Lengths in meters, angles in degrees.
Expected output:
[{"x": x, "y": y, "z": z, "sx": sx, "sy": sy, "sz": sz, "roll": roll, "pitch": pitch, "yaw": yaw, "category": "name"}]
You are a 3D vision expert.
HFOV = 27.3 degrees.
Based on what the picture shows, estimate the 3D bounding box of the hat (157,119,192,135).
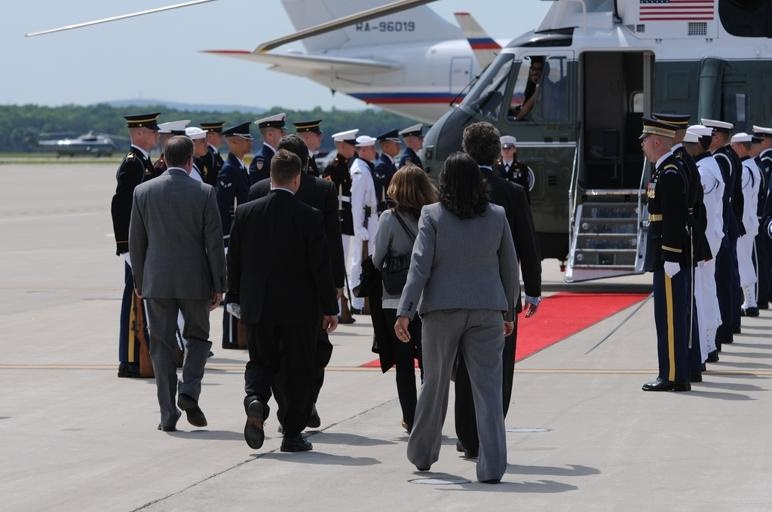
[{"x": -2.707, "y": -1.629, "z": 20.137, "sx": 0.372, "sy": 0.137, "sz": 0.263, "roll": 2, "pitch": 8, "yaw": 18, "category": "hat"}]

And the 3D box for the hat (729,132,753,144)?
[{"x": 4.844, "y": -1.611, "z": 21.653, "sx": 0.351, "sy": 0.125, "sz": 0.448, "roll": 2, "pitch": 1, "yaw": 17, "category": "hat"}]

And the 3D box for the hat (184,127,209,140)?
[{"x": -2.459, "y": -1.585, "z": 20.496, "sx": 0.412, "sy": 0.145, "sz": 0.471, "roll": -1, "pitch": 5, "yaw": -10, "category": "hat"}]

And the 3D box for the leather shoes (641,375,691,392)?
[{"x": 3.261, "y": 1.460, "z": 18.448, "sx": 0.526, "sy": 0.210, "sz": 0.203, "roll": 3, "pitch": -1, "yaw": 6, "category": "leather shoes"}]

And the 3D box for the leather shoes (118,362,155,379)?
[{"x": -2.932, "y": 1.367, "z": 18.936, "sx": 0.514, "sy": 0.204, "sz": 0.161, "roll": 1, "pitch": -4, "yaw": -5, "category": "leather shoes"}]

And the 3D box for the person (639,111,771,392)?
[{"x": 3.324, "y": -0.021, "z": 18.392, "sx": 0.737, "sy": 3.117, "sz": 0.592, "roll": 1, "pitch": 8, "yaw": 9, "category": "person"}]

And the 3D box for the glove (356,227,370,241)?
[{"x": -0.327, "y": -0.300, "z": 21.716, "sx": 0.168, "sy": 0.165, "sz": 0.143, "roll": 7, "pitch": 0, "yaw": -20, "category": "glove"}]

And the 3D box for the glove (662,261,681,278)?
[{"x": 3.280, "y": 0.148, "z": 18.228, "sx": 0.173, "sy": 0.204, "sz": 0.183, "roll": 1, "pitch": 8, "yaw": 9, "category": "glove"}]

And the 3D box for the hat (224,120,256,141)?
[{"x": -1.923, "y": -1.604, "z": 20.346, "sx": 0.317, "sy": 0.145, "sz": 0.266, "roll": -2, "pitch": -1, "yaw": 30, "category": "hat"}]

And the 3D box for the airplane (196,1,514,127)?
[{"x": -0.067, "y": -5.462, "z": 44.029, "sx": 7.559, "sy": 2.404, "sz": 7.213, "roll": 0, "pitch": 7, "yaw": 16, "category": "airplane"}]

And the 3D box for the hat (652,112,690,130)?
[{"x": 3.298, "y": -1.585, "z": 18.400, "sx": 0.366, "sy": 0.119, "sz": 0.331, "roll": 11, "pitch": 7, "yaw": 19, "category": "hat"}]

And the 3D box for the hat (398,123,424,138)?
[{"x": 0.213, "y": -1.838, "z": 23.263, "sx": 0.506, "sy": 0.205, "sz": 0.414, "roll": -2, "pitch": 2, "yaw": 14, "category": "hat"}]

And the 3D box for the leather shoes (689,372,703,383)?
[{"x": 3.654, "y": 1.422, "z": 18.724, "sx": 0.123, "sy": 0.082, "sz": 0.116, "roll": 0, "pitch": 0, "yaw": 12, "category": "leather shoes"}]

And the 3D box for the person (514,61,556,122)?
[{"x": 2.172, "y": -2.473, "z": 23.506, "sx": 0.642, "sy": 0.799, "sz": 0.287, "roll": 0, "pitch": 18, "yaw": -45, "category": "person"}]

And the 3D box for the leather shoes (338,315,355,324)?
[{"x": -0.577, "y": 0.858, "z": 21.669, "sx": 0.286, "sy": 0.103, "sz": 0.106, "roll": -5, "pitch": -4, "yaw": 41, "category": "leather shoes"}]

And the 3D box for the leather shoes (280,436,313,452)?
[{"x": -0.962, "y": 1.981, "z": 16.921, "sx": 0.341, "sy": 0.137, "sz": 0.152, "roll": -3, "pitch": 2, "yaw": -21, "category": "leather shoes"}]

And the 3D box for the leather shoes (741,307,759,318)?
[{"x": 5.060, "y": 0.768, "z": 22.043, "sx": 0.201, "sy": 0.091, "sz": 0.115, "roll": -1, "pitch": 4, "yaw": 12, "category": "leather shoes"}]

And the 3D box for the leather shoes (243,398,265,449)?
[{"x": -1.381, "y": 1.766, "z": 16.717, "sx": 0.235, "sy": 0.485, "sz": 0.216, "roll": -4, "pitch": -5, "yaw": -1, "category": "leather shoes"}]
